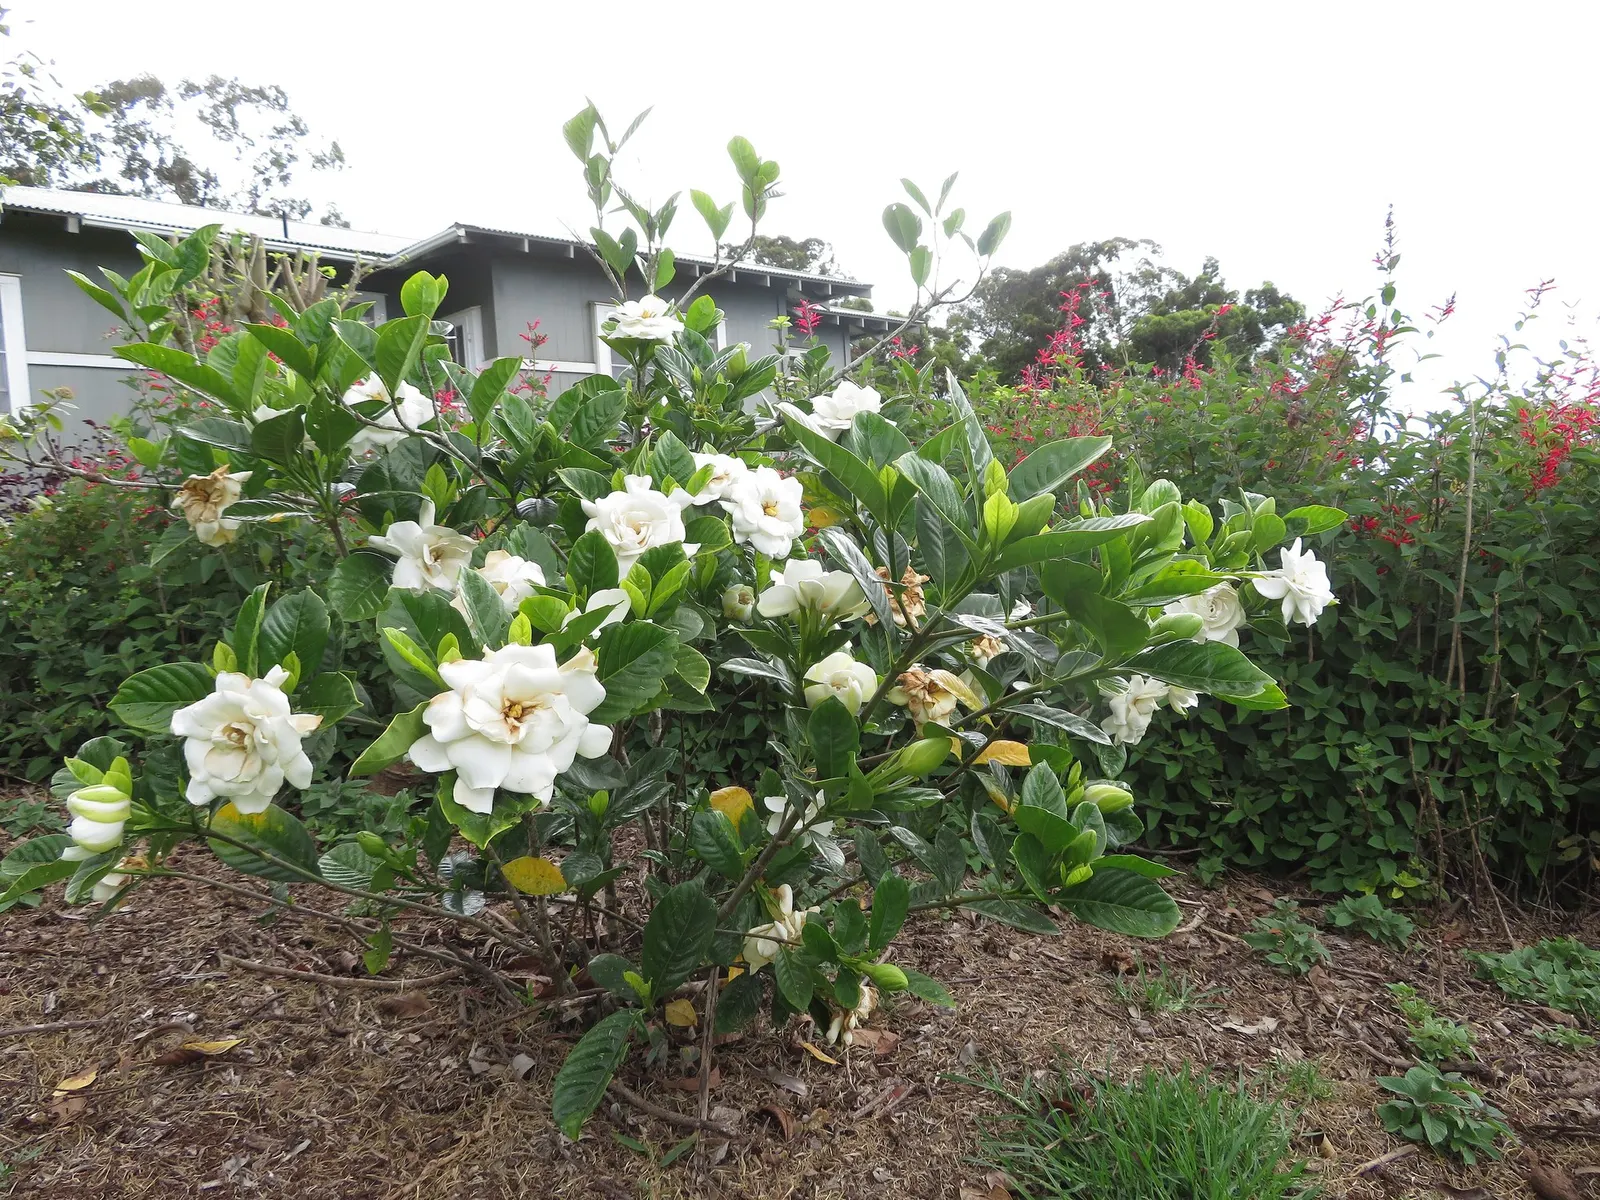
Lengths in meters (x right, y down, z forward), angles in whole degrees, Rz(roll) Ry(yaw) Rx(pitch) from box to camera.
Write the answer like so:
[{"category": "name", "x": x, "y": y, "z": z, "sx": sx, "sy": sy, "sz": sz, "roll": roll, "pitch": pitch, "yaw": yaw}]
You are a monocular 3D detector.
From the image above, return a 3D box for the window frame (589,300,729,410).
[{"category": "window frame", "x": -0.401, "y": -0.781, "z": 2.938, "sx": 0.342, "sy": 0.213, "sz": 0.343, "roll": 20, "pitch": 33, "yaw": 37}]

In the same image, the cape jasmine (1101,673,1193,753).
[{"category": "cape jasmine", "x": 0.876, "y": 0.290, "z": 2.480, "sx": 0.231, "sy": 0.217, "sz": 0.104, "roll": 11, "pitch": -22, "yaw": 35}]

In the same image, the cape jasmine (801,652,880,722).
[{"category": "cape jasmine", "x": 0.088, "y": 0.180, "z": 2.099, "sx": 0.163, "sy": 0.126, "sz": 0.143, "roll": 7, "pitch": 10, "yaw": 7}]

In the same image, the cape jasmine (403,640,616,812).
[{"category": "cape jasmine", "x": -0.487, "y": 0.216, "z": 1.672, "sx": 0.321, "sy": 0.280, "sz": 0.155, "roll": 5, "pitch": 10, "yaw": -8}]

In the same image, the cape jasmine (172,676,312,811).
[{"category": "cape jasmine", "x": -1.033, "y": 0.273, "z": 1.835, "sx": 0.236, "sy": 0.301, "sz": 0.196, "roll": 3, "pitch": 10, "yaw": -17}]
